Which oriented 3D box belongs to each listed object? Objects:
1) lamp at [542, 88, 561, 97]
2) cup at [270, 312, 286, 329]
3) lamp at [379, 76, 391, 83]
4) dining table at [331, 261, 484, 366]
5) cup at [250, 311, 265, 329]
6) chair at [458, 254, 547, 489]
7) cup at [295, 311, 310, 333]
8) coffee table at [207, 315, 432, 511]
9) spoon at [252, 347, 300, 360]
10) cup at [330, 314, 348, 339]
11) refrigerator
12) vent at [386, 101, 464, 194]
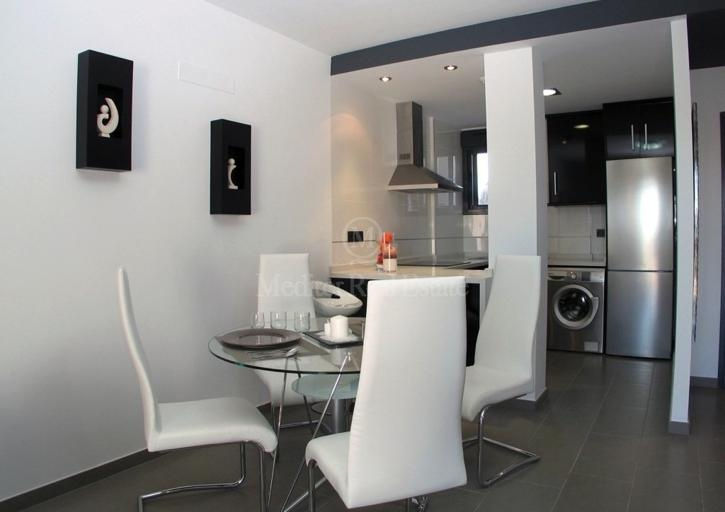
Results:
[{"bbox_3d":[1.957,-1.689,5.548,0.167,0.045,0.306,2,10,19],"label":"lamp"},{"bbox_3d":[-0.607,0.462,3.821,0.099,0.102,0.106,-2,2,0],"label":"cup"},{"bbox_3d":[0.218,-1.705,5.200,0.119,0.032,0.191,0,9,6],"label":"lamp"},{"bbox_3d":[0.508,0.737,5.027,1.508,1.309,0.851,0,0,42],"label":"dining table"},{"bbox_3d":[-0.733,0.449,3.757,0.108,0.121,0.105,-1,-1,0],"label":"cup"},{"bbox_3d":[0.914,0.738,3.689,0.860,1.427,0.480,-9,12,-42],"label":"chair"},{"bbox_3d":[-0.421,0.466,3.677,0.102,0.181,0.102,0,-4,0],"label":"cup"},{"bbox_3d":[-0.352,0.615,3.166,1.085,0.795,1.139,4,4,29],"label":"coffee table"},{"bbox_3d":[-0.498,0.553,3.001,0.159,0.052,0.095,-21,-14,21],"label":"spoon"},{"bbox_3d":[-0.147,0.432,3.308,0.112,0.139,0.117,0,6,0],"label":"cup"},{"bbox_3d":[2.973,0.029,5.813,0.669,2.136,0.311,2,9,15],"label":"refrigerator"},{"bbox_3d":[0.704,-1.196,6.102,0.491,0.982,0.961,-2,0,25],"label":"vent"}]
